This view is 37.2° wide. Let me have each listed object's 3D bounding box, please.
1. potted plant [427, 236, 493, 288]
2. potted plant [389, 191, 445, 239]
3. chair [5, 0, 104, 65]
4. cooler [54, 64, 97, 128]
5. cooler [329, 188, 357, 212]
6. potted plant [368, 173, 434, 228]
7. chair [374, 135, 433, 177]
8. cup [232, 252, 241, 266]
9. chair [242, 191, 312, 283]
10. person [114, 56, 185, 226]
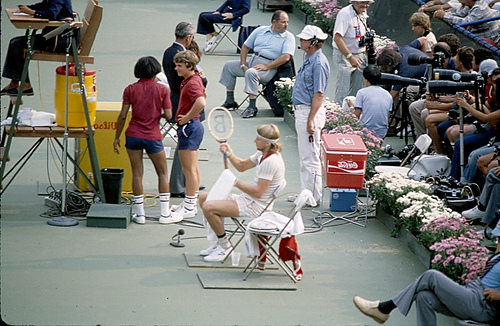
[{"bbox_3d":[3.260,1.442,11.456,0.784,0.554,0.895,3,19,40],"label":"potted plant"},{"bbox_3d":[2.788,0.887,12.936,0.944,0.666,1.053,-6,-3,-13],"label":"potted plant"},{"bbox_3d":[-3.387,-2.321,12.999,1.333,0.831,1.356,4,16,-9],"label":"chair"},{"bbox_3d":[-3.104,-1.188,13.436,0.749,0.999,0.702,4,8,15],"label":"cooler"},{"bbox_3d":[1.704,0.679,13.786,0.448,0.443,0.444,2,9,0],"label":"cooler"},{"bbox_3d":[2.595,0.631,13.588,1.089,0.826,0.958,2,5,8],"label":"potted plant"},{"bbox_3d":[2.865,0.058,14.127,0.922,1.194,0.643,1,14,1],"label":"chair"},{"bbox_3d":[-0.238,1.563,12.092,0.180,0.198,0.180,4,16,-1],"label":"cup"},{"bbox_3d":[0.403,1.110,12.025,0.985,1.322,0.826,5,12,9],"label":"chair"},{"bbox_3d":[-1.783,-0.381,13.103,1.022,2.966,0.261,0,5,-12],"label":"person"}]
